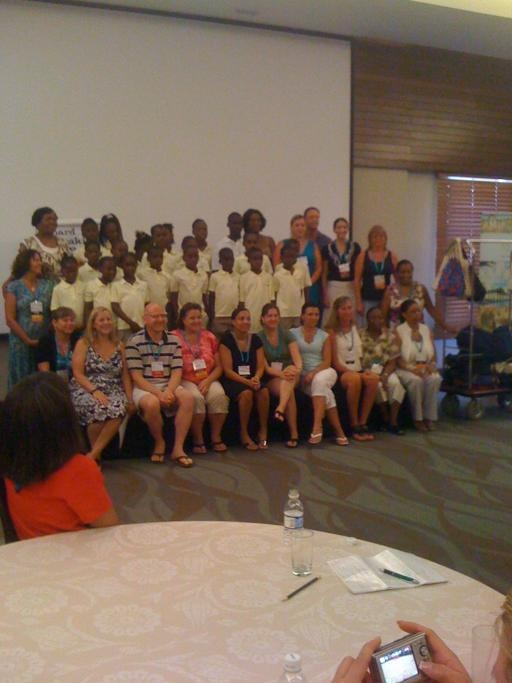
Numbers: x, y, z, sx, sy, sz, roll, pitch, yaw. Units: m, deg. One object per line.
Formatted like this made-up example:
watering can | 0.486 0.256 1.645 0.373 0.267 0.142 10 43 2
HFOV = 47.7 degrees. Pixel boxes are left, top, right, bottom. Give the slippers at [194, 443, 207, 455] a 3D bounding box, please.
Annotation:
slippers | -0.428 0.818 4.429 0.098 0.073 0.063 2 -3 -5

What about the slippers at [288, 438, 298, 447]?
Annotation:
slippers | 0.287 0.801 4.607 0.087 0.069 0.087 2 -3 0

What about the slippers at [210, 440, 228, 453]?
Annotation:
slippers | -0.290 0.811 4.480 0.117 0.071 0.073 2 -3 10

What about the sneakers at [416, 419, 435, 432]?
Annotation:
sneakers | 1.478 0.744 5.093 0.088 0.051 0.148 -2 0 -14

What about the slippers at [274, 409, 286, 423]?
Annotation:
slippers | 0.187 0.586 4.637 0.139 0.091 0.232 0 -3 2

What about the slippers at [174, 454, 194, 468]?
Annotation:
slippers | -0.509 0.847 4.150 0.133 0.071 0.206 3 -3 -14

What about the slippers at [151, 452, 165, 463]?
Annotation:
slippers | -0.712 0.839 4.239 0.097 0.070 0.186 3 -3 -9

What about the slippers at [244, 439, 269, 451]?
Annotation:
slippers | -0.011 0.803 4.545 0.195 0.084 0.136 2 -3 -3

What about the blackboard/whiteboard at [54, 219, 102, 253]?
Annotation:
blackboard/whiteboard | -1.613 -0.944 5.212 0.399 0.245 0.018 -2 -15 -26

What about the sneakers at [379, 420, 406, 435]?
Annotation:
sneakers | 1.176 0.750 5.046 0.078 0.053 0.211 -2 3 -30
